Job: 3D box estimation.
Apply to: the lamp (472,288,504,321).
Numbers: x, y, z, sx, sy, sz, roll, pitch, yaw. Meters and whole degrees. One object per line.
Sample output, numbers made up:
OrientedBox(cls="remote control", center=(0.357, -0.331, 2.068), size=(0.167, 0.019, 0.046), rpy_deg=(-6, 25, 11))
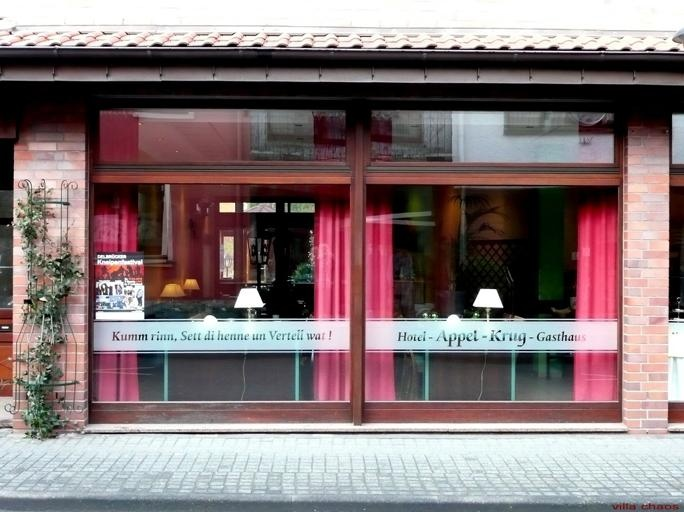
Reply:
OrientedBox(cls="lamp", center=(1.971, 0.662, 12.908), size=(0.366, 0.531, 0.381), rpy_deg=(-3, -3, 43))

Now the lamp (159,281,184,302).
OrientedBox(cls="lamp", center=(-2.260, 0.465, 12.868), size=(0.220, 0.274, 0.272), rpy_deg=(2, -2, -3))

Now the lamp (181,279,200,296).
OrientedBox(cls="lamp", center=(-2.002, 0.399, 12.759), size=(0.196, 0.218, 0.215), rpy_deg=(3, 6, 21))

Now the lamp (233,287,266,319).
OrientedBox(cls="lamp", center=(-1.224, 0.615, 12.768), size=(0.361, 0.565, 0.373), rpy_deg=(1, 3, 1))
